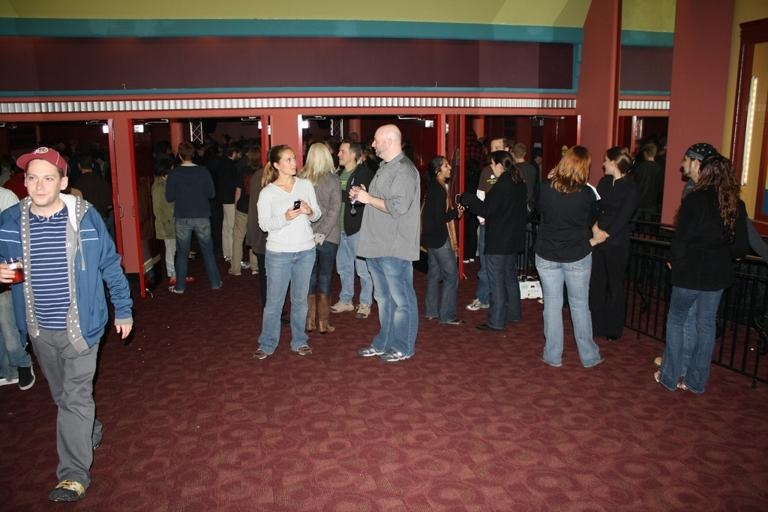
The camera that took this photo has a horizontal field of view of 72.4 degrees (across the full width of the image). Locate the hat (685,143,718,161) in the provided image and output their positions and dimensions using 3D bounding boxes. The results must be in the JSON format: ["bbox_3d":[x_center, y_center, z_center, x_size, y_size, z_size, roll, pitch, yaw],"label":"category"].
[{"bbox_3d":[3.448,-1.125,5.687,0.254,0.167,0.309,2,16,9],"label":"hat"}]

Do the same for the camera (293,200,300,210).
[{"bbox_3d":[-1.021,-0.618,6.238,0.093,0.094,0.173,-2,16,-4],"label":"camera"}]

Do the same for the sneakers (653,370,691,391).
[{"bbox_3d":[3.269,1.428,6.033,0.114,0.141,0.334,-2,5,-10],"label":"sneakers"}]

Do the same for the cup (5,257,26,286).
[{"bbox_3d":[-3.071,0.140,4.333,0.161,0.176,0.156,2,8,0],"label":"cup"}]

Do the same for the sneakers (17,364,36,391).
[{"bbox_3d":[-4.158,1.422,6.114,0.124,0.133,0.335,-7,15,-32],"label":"sneakers"}]
